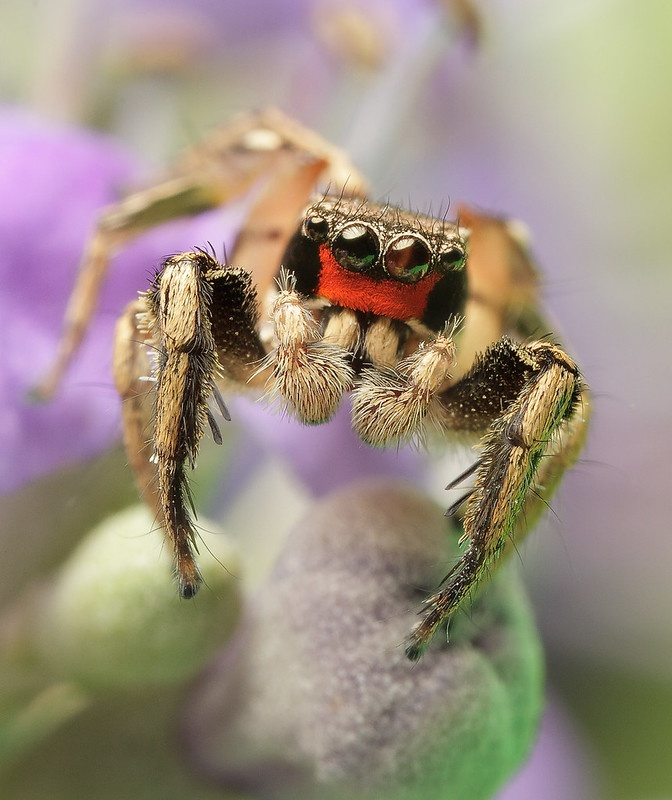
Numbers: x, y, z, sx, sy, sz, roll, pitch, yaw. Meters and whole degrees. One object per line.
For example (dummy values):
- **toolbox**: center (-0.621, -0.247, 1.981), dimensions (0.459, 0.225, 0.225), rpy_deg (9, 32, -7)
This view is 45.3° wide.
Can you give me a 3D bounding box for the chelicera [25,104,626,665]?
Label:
- **chelicera**: center (0.095, -0.065, 1.232), dimensions (0.755, 1.061, 0.367), rpy_deg (5, 97, 11)
